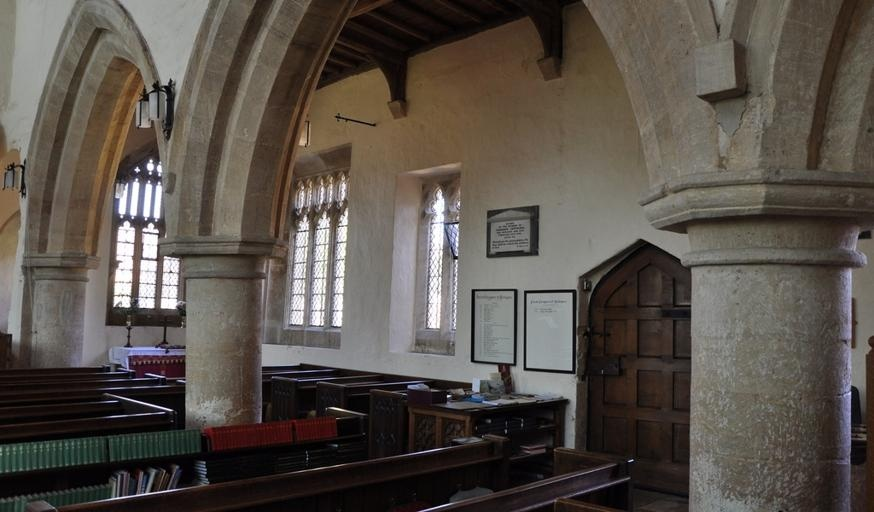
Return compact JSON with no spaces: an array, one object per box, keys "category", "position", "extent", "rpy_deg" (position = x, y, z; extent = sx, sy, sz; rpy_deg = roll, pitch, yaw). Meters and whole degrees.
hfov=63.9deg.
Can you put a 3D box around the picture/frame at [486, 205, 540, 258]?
[{"category":"picture/frame","position":[0.993,-0.295,8.814],"extent":[0.672,0.562,0.091],"rpy_deg":[-1,-3,40]}]

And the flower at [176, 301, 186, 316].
[{"category":"flower","position":[-4.493,0.887,12.279],"extent":[0.085,0.287,1.657],"rpy_deg":[4,-9,-18]}]

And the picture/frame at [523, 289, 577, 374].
[{"category":"picture/frame","position":[1.400,0.930,8.426],"extent":[0.976,1.328,0.050],"rpy_deg":[-5,-10,40]}]

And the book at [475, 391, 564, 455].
[{"category":"book","position":[0.985,1.891,8.068],"extent":[0.782,0.572,0.781],"rpy_deg":[1,-2,-38]}]

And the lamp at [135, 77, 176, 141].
[{"category":"lamp","position":[-2.808,-1.446,6.972],"extent":[0.203,0.655,0.572],"rpy_deg":[8,-12,-40]}]

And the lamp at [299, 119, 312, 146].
[{"category":"lamp","position":[-2.129,-2.033,11.374],"extent":[0.166,0.547,0.830],"rpy_deg":[2,-9,-11]}]

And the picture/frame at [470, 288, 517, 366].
[{"category":"picture/frame","position":[0.726,0.906,8.923],"extent":[0.752,0.976,0.032],"rpy_deg":[-4,-7,44]}]
